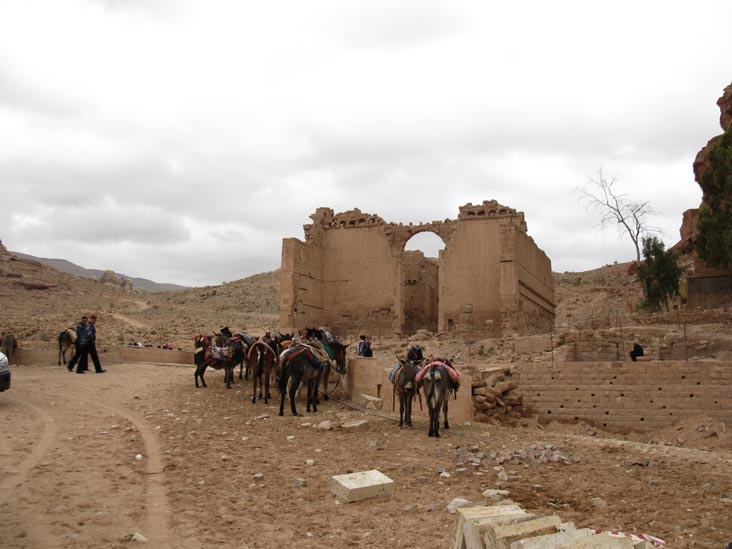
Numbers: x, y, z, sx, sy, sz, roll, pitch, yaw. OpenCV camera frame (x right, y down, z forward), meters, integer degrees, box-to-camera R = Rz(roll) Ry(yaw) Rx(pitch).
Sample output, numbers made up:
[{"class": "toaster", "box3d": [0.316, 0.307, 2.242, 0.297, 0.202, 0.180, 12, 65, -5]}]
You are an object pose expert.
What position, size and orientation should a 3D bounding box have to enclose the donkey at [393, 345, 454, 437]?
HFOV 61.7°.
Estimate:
[{"class": "donkey", "box3d": [1.435, 3.009, 15.065, 1.520, 2.066, 1.991, 0, 7, -4]}]
